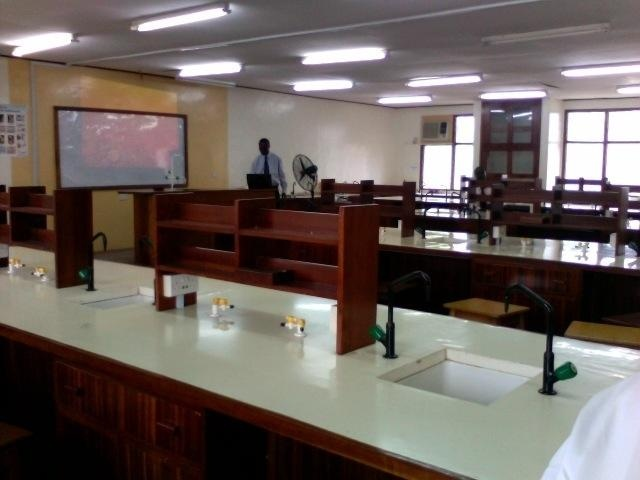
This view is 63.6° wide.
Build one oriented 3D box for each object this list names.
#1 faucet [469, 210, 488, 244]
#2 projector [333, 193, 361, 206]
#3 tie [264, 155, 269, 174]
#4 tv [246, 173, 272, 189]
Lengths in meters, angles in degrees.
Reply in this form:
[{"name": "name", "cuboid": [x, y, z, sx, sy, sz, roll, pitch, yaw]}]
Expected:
[{"name": "faucet", "cuboid": [1.558, -0.131, 5.213, 0.228, 0.341, 0.341, -3, 15, 11]}, {"name": "projector", "cuboid": [0.369, -0.628, 8.058, 0.389, 0.107, 0.420, -6, 9, -39]}, {"name": "tie", "cuboid": [-0.924, -1.323, 9.035, 0.086, 0.279, 0.107, -9, 14, -41]}, {"name": "tv", "cuboid": [-0.959, -0.926, 8.126, 0.368, 0.214, 0.132, 0, 11, -1]}]
